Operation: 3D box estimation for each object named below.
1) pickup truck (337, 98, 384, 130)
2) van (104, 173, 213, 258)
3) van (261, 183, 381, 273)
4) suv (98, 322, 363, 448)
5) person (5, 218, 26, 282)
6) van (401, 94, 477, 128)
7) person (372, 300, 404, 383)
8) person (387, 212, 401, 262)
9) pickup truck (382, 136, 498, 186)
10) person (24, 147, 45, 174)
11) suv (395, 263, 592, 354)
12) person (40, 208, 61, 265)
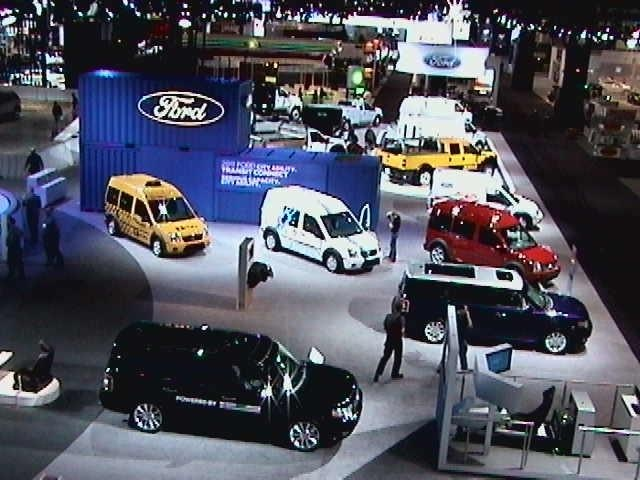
[{"bbox_3d":[2.963,-9.419,37.697,3.852,2.234,2.879,-4,33,-12],"label":"pickup truck"},{"bbox_3d":[-5.603,-0.914,18.007,3.586,2.143,2.316,22,32,33],"label":"van"},{"bbox_3d":[0.103,-0.400,17.465,3.855,2.151,2.215,17,30,27],"label":"van"},{"bbox_3d":[-1.547,2.460,9.393,4.141,1.761,2.253,5,34,4],"label":"suv"},{"bbox_3d":[-8.882,0.290,14.894,0.501,1.829,0.904,-9,22,-31],"label":"person"},{"bbox_3d":[7.871,-8.902,34.504,3.871,2.354,2.950,1,18,8],"label":"van"},{"bbox_3d":[1.608,2.220,11.410,0.628,1.812,1.228,6,19,11],"label":"person"},{"bbox_3d":[2.589,-0.041,17.875,0.523,1.815,0.619,7,46,4],"label":"person"},{"bbox_3d":[5.908,-4.282,26.110,4.847,2.091,2.841,-11,20,-23],"label":"pickup truck"},{"bbox_3d":[-13.075,-3.524,23.429,0.739,1.323,1.726,-9,23,-30],"label":"person"},{"bbox_3d":[4.456,1.678,13.317,4.489,1.777,2.078,3,15,12],"label":"suv"},{"bbox_3d":[-8.375,-0.001,16.033,0.471,1.582,1.089,-8,21,-28],"label":"person"}]
